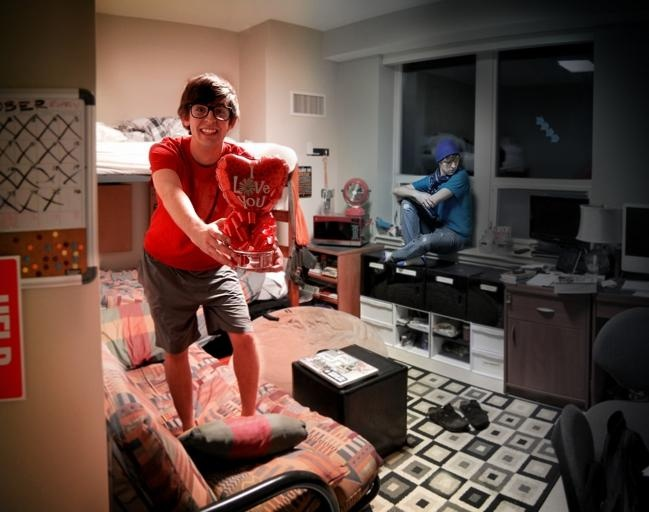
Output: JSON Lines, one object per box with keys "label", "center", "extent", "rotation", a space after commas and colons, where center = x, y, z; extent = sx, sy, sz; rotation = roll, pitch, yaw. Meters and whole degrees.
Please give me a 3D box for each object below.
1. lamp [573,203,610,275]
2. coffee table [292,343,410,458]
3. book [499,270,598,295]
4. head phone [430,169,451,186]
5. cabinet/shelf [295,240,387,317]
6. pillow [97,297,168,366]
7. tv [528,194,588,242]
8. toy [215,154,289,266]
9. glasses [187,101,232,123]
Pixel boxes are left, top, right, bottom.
{"label": "lamp", "center": [1.831, -0.112, 3.007], "extent": [0.200, 0.461, 0.306], "rotation": [6, 11, 29]}
{"label": "coffee table", "center": [0.160, 0.746, 2.557], "extent": [0.543, 0.535, 0.524], "rotation": [-10, 17, -37]}
{"label": "book", "center": [1.520, 0.167, 2.982], "extent": [0.573, 0.097, 0.379], "rotation": [8, 13, 37]}
{"label": "head phone", "center": [1.009, -0.677, 3.859], "extent": [0.063, 0.117, 0.145], "rotation": [8, 5, -25]}
{"label": "cabinet/shelf", "center": [0.163, 0.139, 4.489], "extent": [0.627, 0.851, 0.854], "rotation": [-2, 6, -34]}
{"label": "pillow", "center": [-1.186, 0.435, 2.671], "extent": [0.414, 0.434, 0.113], "rotation": [-13, -28, -38]}
{"label": "tv", "center": [1.712, -0.278, 3.207], "extent": [0.044, 0.245, 0.329], "rotation": [-7, 11, -31]}
{"label": "toy", "center": [-0.189, -0.124, 1.191], "extent": [0.184, 0.290, 0.130], "rotation": [-2, 10, -15]}
{"label": "glasses", "center": [-0.351, -0.445, 1.374], "extent": [0.128, 0.049, 0.037], "rotation": [-2, 10, -14]}
